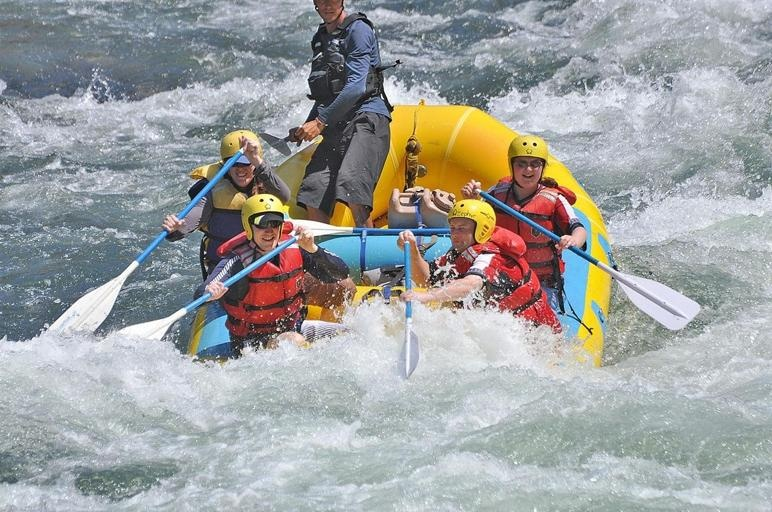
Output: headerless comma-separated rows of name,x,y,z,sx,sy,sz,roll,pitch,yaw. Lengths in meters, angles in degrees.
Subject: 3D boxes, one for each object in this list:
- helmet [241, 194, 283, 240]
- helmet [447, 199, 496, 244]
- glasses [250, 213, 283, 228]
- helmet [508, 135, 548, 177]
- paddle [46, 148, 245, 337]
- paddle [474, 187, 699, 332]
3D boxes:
helmet,-1.264,-0.399,9.295,0.405,0.454,0.392,6,75,-23
helmet,0.903,-0.357,9.114,0.491,0.342,0.392,0,-2,-38
glasses,-1.166,-0.349,9.100,0.201,0.189,0.067,4,47,-14
helmet,1.489,-1.079,9.776,0.303,0.368,0.320,4,78,3
paddle,-2.890,-0.103,11.044,3.513,0.515,0.248,-45,15,-20
paddle,2.137,0.081,10.021,3.057,0.434,0.120,32,2,-1
